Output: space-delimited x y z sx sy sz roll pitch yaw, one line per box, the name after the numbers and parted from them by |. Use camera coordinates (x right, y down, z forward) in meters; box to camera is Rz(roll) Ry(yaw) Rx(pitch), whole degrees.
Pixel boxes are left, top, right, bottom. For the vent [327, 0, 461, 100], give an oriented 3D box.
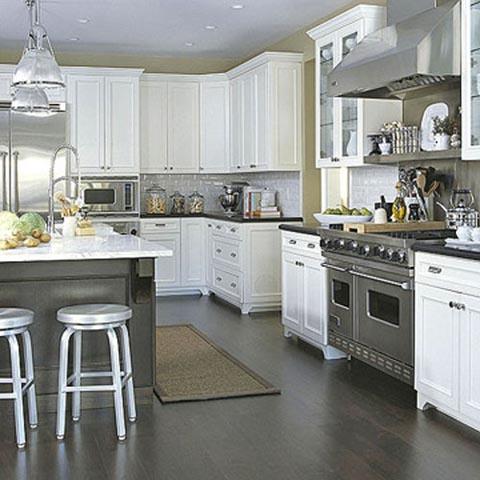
1.067 -1.297 3.163 0.354 0.579 0.876 0 1 -22 | vent

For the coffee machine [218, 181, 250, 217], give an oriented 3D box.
-0.095 -0.578 6.376 0.575 0.554 0.328 0 1 -14 | coffee machine

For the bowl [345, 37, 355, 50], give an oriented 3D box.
0.918 -1.623 3.802 0.072 0.092 0.097 -1 9 -16 | bowl

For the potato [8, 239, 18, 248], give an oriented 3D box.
-1.220 0.018 2.473 0.035 0.013 0.038 14 22 -22 | potato

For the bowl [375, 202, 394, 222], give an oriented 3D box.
1.154 -0.229 3.637 0.169 0.195 0.168 0 6 0 | bowl

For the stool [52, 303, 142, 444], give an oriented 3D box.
-0.713 0.626 2.319 0.393 0.616 0.584 0 1 -18 | stool

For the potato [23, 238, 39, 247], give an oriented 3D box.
-1.178 0.013 2.579 0.054 0.025 0.068 -9 11 4 | potato

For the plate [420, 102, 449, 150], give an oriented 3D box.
1.403 -0.842 3.339 0.056 0.374 0.160 15 -10 -38 | plate

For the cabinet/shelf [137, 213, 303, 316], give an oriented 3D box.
-0.187 0.218 5.665 1.437 0.904 1.422 1 0 -18 | cabinet/shelf

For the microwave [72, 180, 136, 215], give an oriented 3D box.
-1.697 -0.547 6.230 0.896 0.532 0.571 -1 -7 12 | microwave

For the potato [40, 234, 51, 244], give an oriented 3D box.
-1.191 -0.011 2.803 0.058 0.059 0.130 0 1 -23 | potato

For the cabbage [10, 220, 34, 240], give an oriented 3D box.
-1.261 -0.060 2.668 0.114 0.125 0.254 0 1 -25 | cabbage

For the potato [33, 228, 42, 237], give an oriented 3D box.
-1.196 -0.048 2.723 0.046 0.041 0.045 0 -1 12 | potato

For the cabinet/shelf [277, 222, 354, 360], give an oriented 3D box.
0.759 0.382 4.006 0.586 1.094 0.819 -3 4 -22 | cabinet/shelf

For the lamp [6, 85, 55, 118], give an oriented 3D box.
-1.323 -0.847 2.927 0.264 0.147 0.260 0 -1 -16 | lamp

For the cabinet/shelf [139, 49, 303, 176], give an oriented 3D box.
-0.212 -1.568 6.099 1.735 1.073 1.711 -1 3 -24 | cabinet/shelf

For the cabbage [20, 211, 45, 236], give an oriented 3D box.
-1.258 -0.103 2.837 0.127 0.123 0.158 4 -9 -9 | cabbage
